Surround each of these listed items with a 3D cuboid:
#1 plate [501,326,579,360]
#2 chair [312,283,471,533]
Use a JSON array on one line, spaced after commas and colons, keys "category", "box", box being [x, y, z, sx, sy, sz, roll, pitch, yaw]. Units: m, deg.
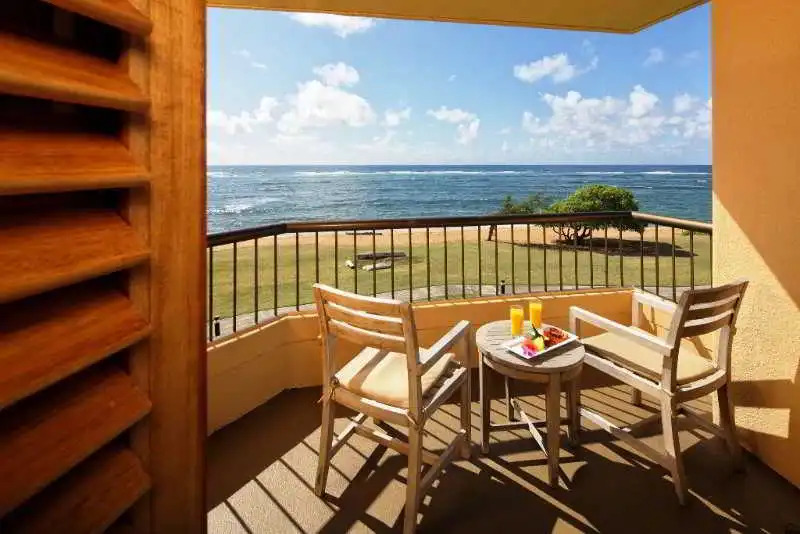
[{"category": "plate", "box": [0.713, 0.377, 2.455, 0.279, 0.030, 0.165, -17, 20, -31]}, {"category": "chair", "box": [-0.070, 0.533, 2.465, 0.791, 1.027, 0.941, 8, 15, 27]}]
